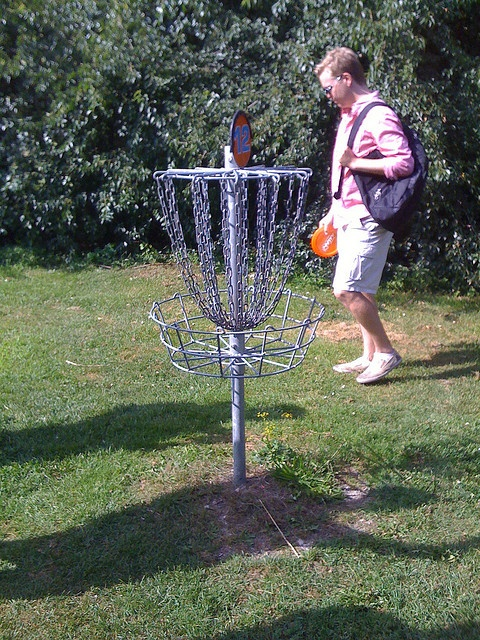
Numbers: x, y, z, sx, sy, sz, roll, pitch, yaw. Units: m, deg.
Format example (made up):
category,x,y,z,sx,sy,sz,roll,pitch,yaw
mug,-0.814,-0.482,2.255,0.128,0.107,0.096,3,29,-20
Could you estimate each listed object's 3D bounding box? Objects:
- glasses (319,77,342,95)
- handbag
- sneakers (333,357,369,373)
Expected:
category,x,y,z,sx,sy,sz,roll,pitch,yaw
glasses,0.569,-1.462,5.354,0.083,0.120,0.245,-6,15,-10
handbag,0.965,-0.911,5.566,0.511,0.796,0.549,2,13,15
sneakers,0.821,0.336,6.236,0.268,0.104,0.100,0,0,23
